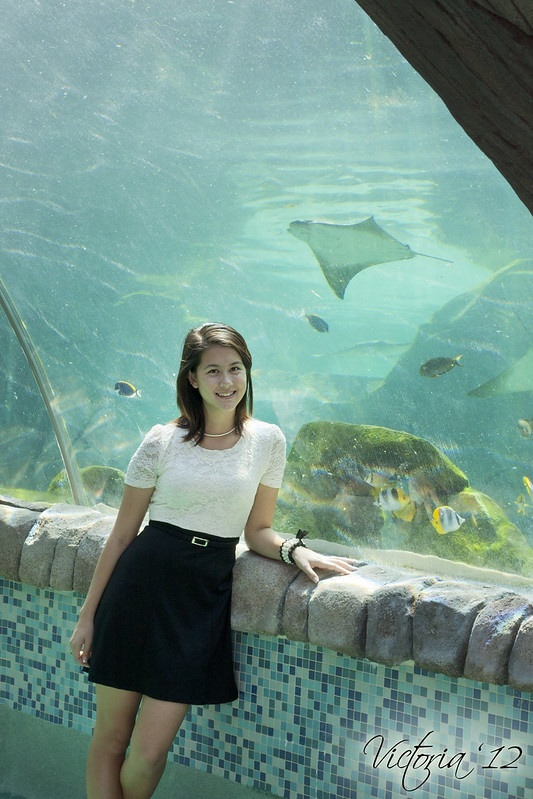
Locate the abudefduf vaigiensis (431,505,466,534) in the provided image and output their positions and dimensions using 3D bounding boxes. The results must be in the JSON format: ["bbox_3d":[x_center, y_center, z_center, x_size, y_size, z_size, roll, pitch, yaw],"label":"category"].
[{"bbox_3d":[1.057,0.717,4.070,0.082,0.118,0.201,7,-3,-34],"label":"abudefduf vaigiensis"}]

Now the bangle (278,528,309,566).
[{"bbox_3d":[0.139,0.612,2.952,0.062,0.151,0.113,22,-33,8],"label":"bangle"}]

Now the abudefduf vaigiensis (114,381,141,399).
[{"bbox_3d":[-0.971,-0.071,4.901,0.174,0.089,0.044,20,28,10],"label":"abudefduf vaigiensis"}]

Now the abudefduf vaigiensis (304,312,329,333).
[{"bbox_3d":[0.316,-0.477,4.368,0.036,0.089,0.140,-15,50,-47],"label":"abudefduf vaigiensis"}]

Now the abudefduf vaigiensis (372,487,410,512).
[{"bbox_3d":[0.757,0.606,4.192,0.191,0.113,0.078,3,-3,41],"label":"abudefduf vaigiensis"}]

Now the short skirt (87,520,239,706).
[{"bbox_3d":[-0.401,0.832,2.701,0.640,0.684,0.389,16,-17,-7],"label":"short skirt"}]
